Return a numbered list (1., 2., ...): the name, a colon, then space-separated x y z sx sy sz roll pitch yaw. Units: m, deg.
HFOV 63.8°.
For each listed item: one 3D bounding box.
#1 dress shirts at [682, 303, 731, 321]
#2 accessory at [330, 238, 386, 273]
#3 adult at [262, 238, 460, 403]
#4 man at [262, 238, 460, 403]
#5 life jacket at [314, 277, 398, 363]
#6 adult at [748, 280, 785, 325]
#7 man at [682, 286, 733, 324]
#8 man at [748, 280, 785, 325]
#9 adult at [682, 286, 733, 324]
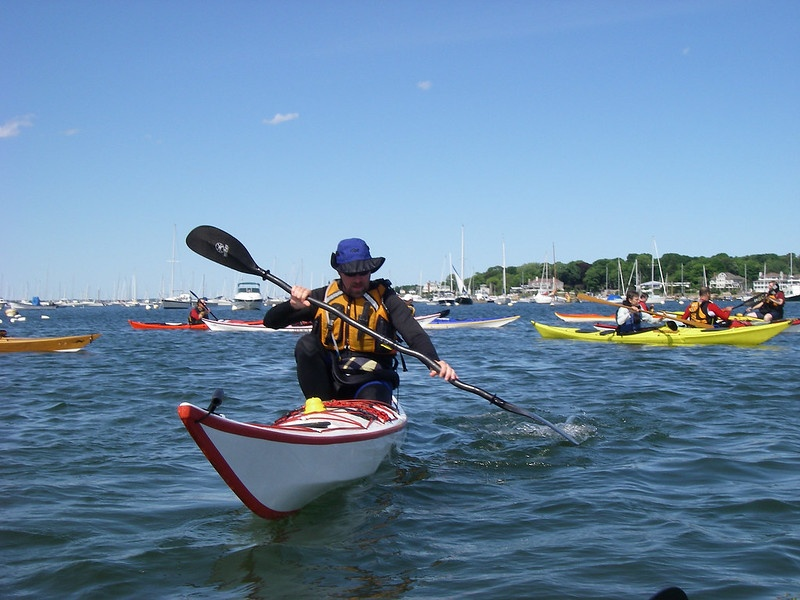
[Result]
1. dress shirts: 8.279 0.298 17.687 0.869 0.334 0.634 10 -10 -30
2. accessory: -0.393 -0.351 5.420 0.526 0.223 0.623 -1 4 3
3. adult: -0.468 0.219 5.754 1.492 1.487 0.701 -1 2 1
4. man: -0.452 0.219 5.753 1.508 1.487 0.679 -1 2 3
5. life jacket: -0.410 0.130 5.886 0.766 0.630 0.401 4 2 16
6. adult: 10.441 0.207 18.407 0.813 1.380 0.889 6 -2 -43
7. man: 8.270 0.176 17.632 1.166 0.999 1.531 1 3 44
8. man: 10.448 0.226 18.407 0.798 1.355 0.904 6 -2 -41
9. adult: 8.256 0.179 17.577 1.141 0.999 1.626 1 3 42
